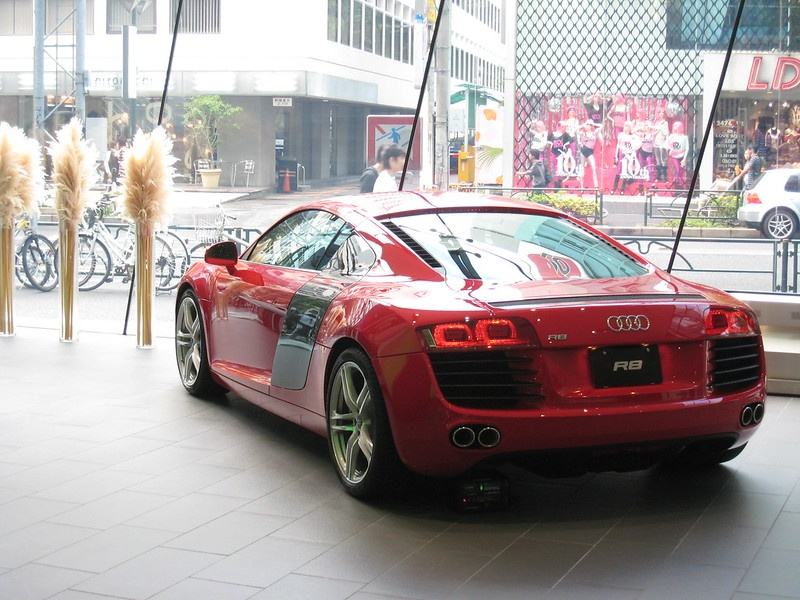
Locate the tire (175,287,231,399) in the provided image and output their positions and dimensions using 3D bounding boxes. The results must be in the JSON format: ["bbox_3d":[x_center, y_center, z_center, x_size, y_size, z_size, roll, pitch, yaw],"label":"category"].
[{"bbox_3d":[-1.524,0.332,4.869,0.225,0.632,0.636,-10,42,-13],"label":"tire"}]

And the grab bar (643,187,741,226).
[{"bbox_3d":[3.207,-1.007,6.966,1.024,0.428,0.375,3,15,24],"label":"grab bar"}]

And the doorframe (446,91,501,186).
[{"bbox_3d":[2.009,-4.009,15.222,1.559,2.278,1.386,7,17,44],"label":"doorframe"}]

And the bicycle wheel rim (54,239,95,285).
[{"bbox_3d":[-5.477,-0.646,10.712,0.584,0.898,0.984,-1,1,-40],"label":"bicycle wheel rim"}]

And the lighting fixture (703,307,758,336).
[{"bbox_3d":[1.544,0.103,2.929,0.255,0.156,0.071,-1,-4,-38],"label":"lighting fixture"}]

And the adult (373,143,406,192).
[{"bbox_3d":[-0.129,-1.804,8.595,0.410,0.790,0.640,8,26,7],"label":"adult"}]

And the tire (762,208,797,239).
[{"bbox_3d":[3.905,-0.782,6.434,0.292,0.301,0.105,-7,-20,4],"label":"tire"}]

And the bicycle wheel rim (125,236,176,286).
[{"bbox_3d":[-4.261,-0.631,10.835,0.687,0.947,1.371,-1,1,-33],"label":"bicycle wheel rim"}]

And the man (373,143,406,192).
[{"bbox_3d":[-0.130,-1.807,8.597,0.388,0.778,0.648,8,26,6],"label":"man"}]

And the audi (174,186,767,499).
[{"bbox_3d":[-0.031,0.093,3.653,1.646,0.928,2.988,0,11,-30],"label":"audi"}]
